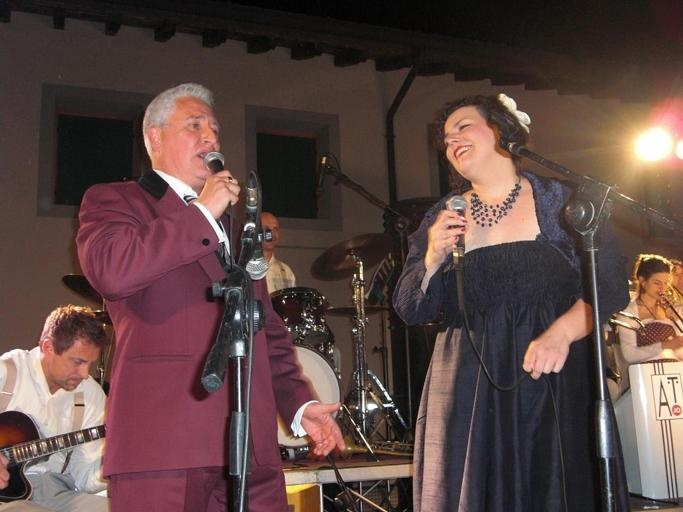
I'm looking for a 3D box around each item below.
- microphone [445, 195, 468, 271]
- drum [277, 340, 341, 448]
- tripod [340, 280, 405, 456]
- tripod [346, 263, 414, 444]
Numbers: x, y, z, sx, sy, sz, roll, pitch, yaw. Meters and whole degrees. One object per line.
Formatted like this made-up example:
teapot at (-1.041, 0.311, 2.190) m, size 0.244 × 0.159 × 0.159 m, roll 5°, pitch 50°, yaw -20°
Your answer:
microphone at (0.485, -0.101, 2.928) m, size 0.079 × 0.306 × 0.086 m, roll -4°, pitch 0°, yaw 6°
drum at (-0.161, 0.917, 4.842) m, size 0.504 × 0.893 × 0.479 m, roll 6°, pitch -2°, yaw 0°
tripod at (0.280, 1.044, 5.824) m, size 0.450 × 1.659 × 0.419 m, roll 2°, pitch 0°, yaw -18°
tripod at (0.297, 0.665, 5.930) m, size 0.464 × 1.846 × 0.433 m, roll 2°, pitch 0°, yaw -20°
